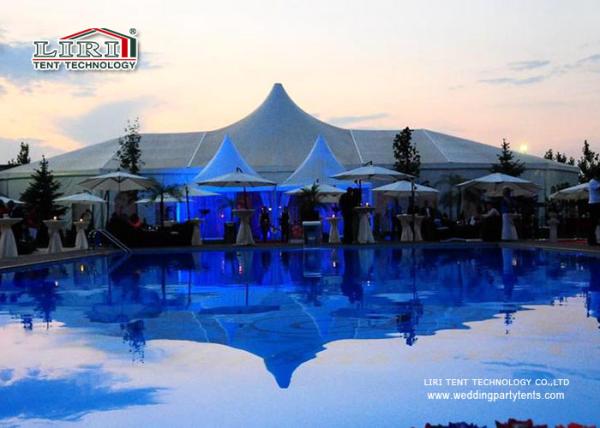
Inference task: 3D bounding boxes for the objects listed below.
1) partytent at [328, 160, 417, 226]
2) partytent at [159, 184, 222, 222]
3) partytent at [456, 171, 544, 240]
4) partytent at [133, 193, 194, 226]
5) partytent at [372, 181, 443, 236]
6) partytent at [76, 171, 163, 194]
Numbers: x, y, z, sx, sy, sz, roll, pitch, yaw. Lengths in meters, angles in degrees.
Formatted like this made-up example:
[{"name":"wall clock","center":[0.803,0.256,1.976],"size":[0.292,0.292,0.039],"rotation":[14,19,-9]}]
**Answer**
[{"name":"partytent","center":[2.324,-1.133,21.803],"size":[2.593,0.923,2.756],"rotation":[0,-2,13]},{"name":"partytent","center":[-3.981,-0.525,23.995],"size":[1.539,1.187,1.574],"rotation":[-1,-2,-12]},{"name":"partytent","center":[6.529,-0.123,21.298],"size":[2.477,1.966,2.644],"rotation":[-5,-4,40]},{"name":"partytent","center":[-5.421,-0.311,25.308],"size":[1.439,0.994,1.386],"rotation":[-1,-2,-4]},{"name":"partytent","center":[3.820,-0.398,23.700],"size":[2.585,1.804,2.479],"rotation":[3,8,29]},{"name":"partytent","center":[-5.576,-0.997,21.021],"size":[2.048,0.645,1.852],"rotation":[4,9,36]}]
